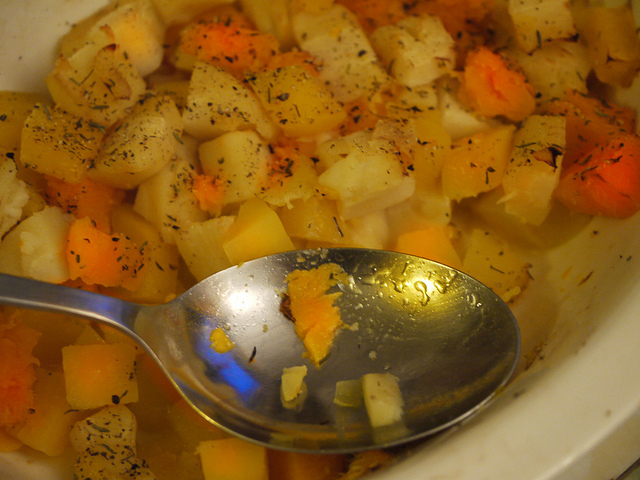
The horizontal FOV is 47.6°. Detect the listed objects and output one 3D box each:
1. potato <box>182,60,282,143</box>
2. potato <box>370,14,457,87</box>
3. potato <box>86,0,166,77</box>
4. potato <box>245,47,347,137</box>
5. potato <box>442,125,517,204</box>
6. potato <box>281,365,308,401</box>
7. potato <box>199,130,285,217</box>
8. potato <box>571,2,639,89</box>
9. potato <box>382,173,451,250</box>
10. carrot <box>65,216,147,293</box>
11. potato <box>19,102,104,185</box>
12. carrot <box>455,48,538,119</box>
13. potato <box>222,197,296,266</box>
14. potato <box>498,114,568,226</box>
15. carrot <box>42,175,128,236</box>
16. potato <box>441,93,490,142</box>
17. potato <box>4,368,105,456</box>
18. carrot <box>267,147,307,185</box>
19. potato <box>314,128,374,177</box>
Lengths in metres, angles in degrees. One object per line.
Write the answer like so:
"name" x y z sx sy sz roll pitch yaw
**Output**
"potato" -0.272 -0.440 2.281 0.337 0.103 0.261 -12 73 -32
"potato" 0.311 -0.621 2.446 0.237 0.071 0.241 -27 90 0
"potato" -0.632 -0.679 2.405 0.225 0.216 0.060 -42 36 -18
"potato" -0.070 -0.459 2.260 0.258 0.094 0.319 -27 85 -20
"potato" 0.487 -0.238 2.256 0.207 0.060 0.303 16 79 25
"potato" -0.075 0.397 2.006 0.077 0.022 0.081 -1 72 -1
"potato" -0.237 -0.226 2.345 0.252 0.243 0.253 -28 87 -5
"potato" 0.866 -0.603 2.185 0.065 0.183 0.258 -27 99 -47
"potato" 0.291 -0.087 2.303 0.223 0.068 0.231 -15 81 1
"carrot" -0.651 0.050 2.191 0.254 0.066 0.186 29 88 -18
"potato" -0.805 -0.290 2.284 0.236 0.148 0.233 31 59 -13
"carrot" 0.562 -0.489 2.303 0.197 0.068 0.256 -44 88 7
"potato" -0.179 -0.016 2.237 0.196 0.187 0.183 -41 68 -7
"potato" 0.673 -0.230 2.263 0.185 0.134 0.348 12 107 29
"carrot" -0.716 -0.128 2.232 0.195 0.063 0.175 28 38 -9
"potato" 0.455 -0.384 2.345 0.133 0.132 0.139 23 79 11
"potato" -0.793 0.505 2.158 0.255 0.075 0.255 46 74 -8
"carrot" -0.107 -0.235 2.279 0.108 0.028 0.110 7 66 25
"potato" 0.067 -0.284 2.233 0.170 0.129 0.061 -34 117 -2
